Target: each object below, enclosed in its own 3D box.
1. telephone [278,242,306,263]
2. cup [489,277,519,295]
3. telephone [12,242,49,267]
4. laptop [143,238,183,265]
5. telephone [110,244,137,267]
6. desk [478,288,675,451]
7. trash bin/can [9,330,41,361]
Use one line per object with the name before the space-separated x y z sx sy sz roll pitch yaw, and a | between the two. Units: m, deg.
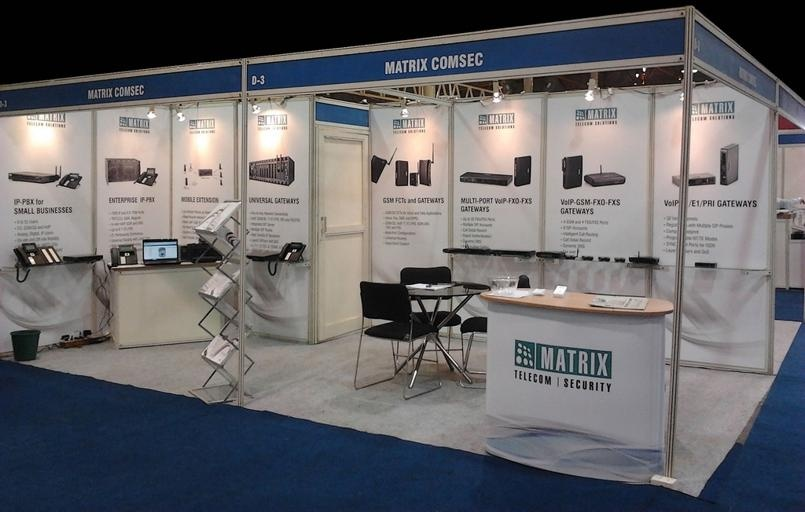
telephone | -1.703 -0.060 8.375 0.331 0.327 0.120 9 1 8
cup | 1.068 0.302 5.623 0.228 0.144 0.179 -1 3 3
telephone | -5.395 -0.033 7.928 0.374 0.313 0.278 -11 17 -43
laptop | -3.766 -0.074 8.476 0.609 0.415 0.366 1 -5 -20
telephone | -4.298 -0.014 8.402 0.359 0.260 0.457 -7 14 -30
desk | 1.664 1.236 5.522 1.951 1.424 1.070 -2 -13 37
trash bin/can | -5.308 1.237 7.676 0.389 0.406 0.382 0 -2 33
